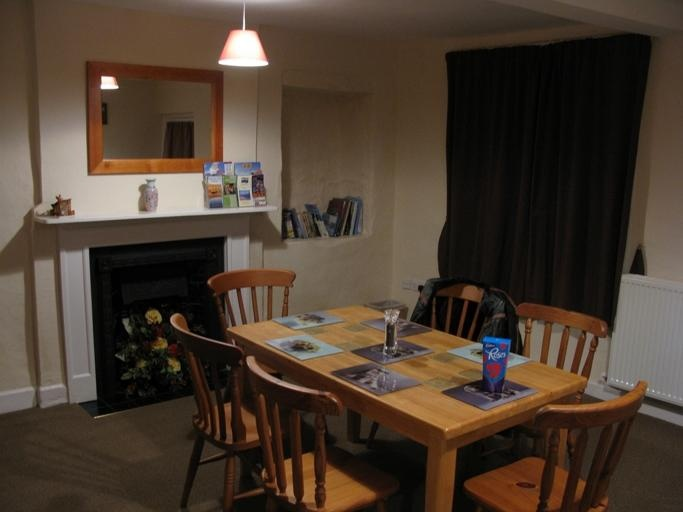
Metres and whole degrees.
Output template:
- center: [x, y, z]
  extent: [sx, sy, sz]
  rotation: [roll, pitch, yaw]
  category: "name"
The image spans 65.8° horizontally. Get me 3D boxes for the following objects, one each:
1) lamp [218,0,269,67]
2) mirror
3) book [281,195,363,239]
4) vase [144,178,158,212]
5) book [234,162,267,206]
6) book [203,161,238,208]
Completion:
- center: [-0.611, -1.314, 3.232]
  extent: [0.222, 0.256, 0.246]
  rotation: [-9, 11, -43]
  category: "lamp"
- center: [-1.408, -1.054, 4.085]
  extent: [0.988, 0.847, 0.062]
  rotation: [-2, -1, -13]
  category: "mirror"
- center: [-0.195, -0.382, 5.268]
  extent: [0.949, 0.389, 0.298]
  rotation: [-6, 9, -31]
  category: "book"
- center: [-1.469, -0.475, 4.074]
  extent: [0.118, 0.256, 0.163]
  rotation: [-4, 9, -21]
  category: "vase"
- center: [-0.748, -0.608, 4.457]
  extent: [0.166, 0.376, 0.333]
  rotation: [7, 11, 43]
  category: "book"
- center: [-0.996, -0.573, 4.299]
  extent: [0.340, 0.492, 0.171]
  rotation: [-5, 7, -38]
  category: "book"
